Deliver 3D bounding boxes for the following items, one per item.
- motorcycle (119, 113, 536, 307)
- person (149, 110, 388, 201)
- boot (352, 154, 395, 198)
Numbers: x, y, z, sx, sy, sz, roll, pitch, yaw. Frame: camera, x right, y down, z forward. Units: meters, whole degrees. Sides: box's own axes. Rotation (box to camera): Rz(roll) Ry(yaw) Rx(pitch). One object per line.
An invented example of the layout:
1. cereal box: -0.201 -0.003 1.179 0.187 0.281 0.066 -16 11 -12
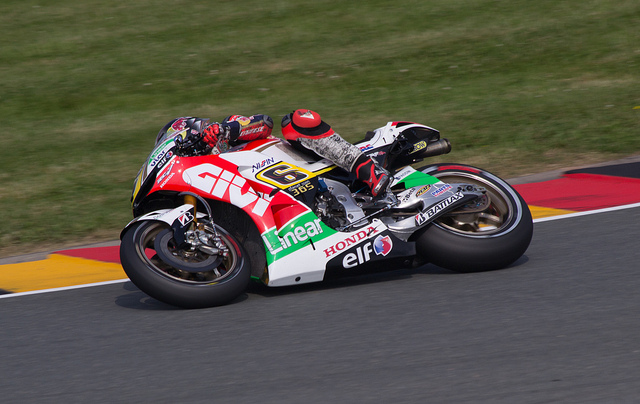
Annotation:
1. motorcycle: -0.066 -0.034 5.849 4.229 1.244 1.220 -13 -5 -27
2. person: -0.080 -0.449 5.832 2.823 0.647 0.925 7 38 -2
3. boot: 0.503 -0.248 5.496 0.378 0.404 0.384 0 42 6
